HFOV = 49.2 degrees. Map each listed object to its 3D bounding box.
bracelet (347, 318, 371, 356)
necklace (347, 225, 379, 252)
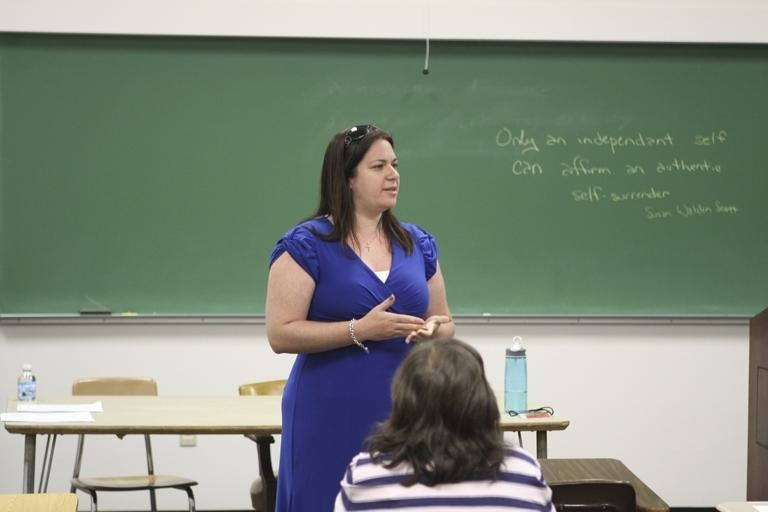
[{"bbox_3d":[-0.109,0.367,3.807,0.091,0.139,0.036,-7,17,33],"label":"bracelet"},{"bbox_3d":[-0.090,-0.070,3.910,0.092,0.143,0.040,-1,-8,-15],"label":"necklace"}]
